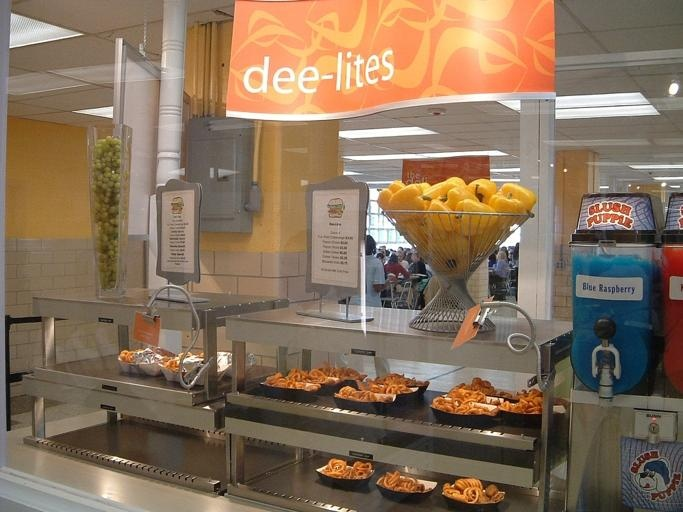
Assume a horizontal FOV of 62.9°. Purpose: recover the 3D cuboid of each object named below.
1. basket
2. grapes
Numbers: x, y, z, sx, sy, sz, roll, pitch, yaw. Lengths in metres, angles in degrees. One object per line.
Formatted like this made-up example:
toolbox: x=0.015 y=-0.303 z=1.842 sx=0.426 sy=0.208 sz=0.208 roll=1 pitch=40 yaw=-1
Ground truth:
basket: x=0.226 y=0.032 z=1.105 sx=0.233 sy=0.181 sz=0.240 roll=0 pitch=-1 yaw=-5
grapes: x=-0.639 y=-0.117 z=1.542 sx=0.104 sy=0.422 sz=0.050 roll=0 pitch=-1 yaw=22
